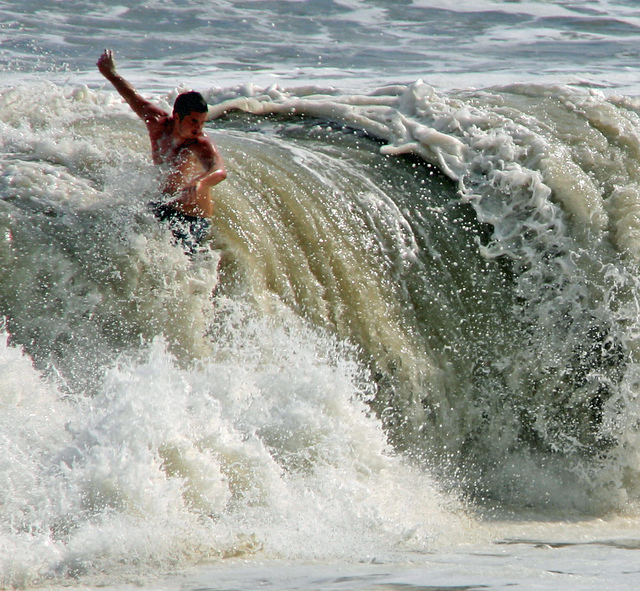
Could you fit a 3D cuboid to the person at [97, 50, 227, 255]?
[{"bbox_3d":[-1.184,-1.128,11.883,0.530,1.122,1.212,-23,53,-31],"label":"person"}]
